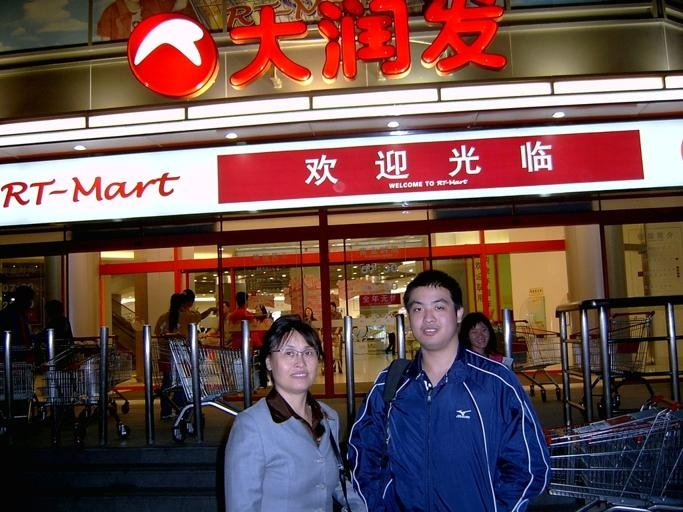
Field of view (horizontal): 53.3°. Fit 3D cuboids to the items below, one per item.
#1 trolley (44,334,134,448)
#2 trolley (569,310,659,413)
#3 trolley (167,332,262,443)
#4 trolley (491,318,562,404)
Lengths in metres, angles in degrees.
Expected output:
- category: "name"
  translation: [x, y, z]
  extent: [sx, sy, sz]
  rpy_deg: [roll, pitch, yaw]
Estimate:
- category: "trolley"
  translation: [-3.297, 1.663, 8.834]
  extent: [0.693, 1.113, 1.211]
  rpy_deg: [-8, -1, 1]
- category: "trolley"
  translation: [3.601, 1.394, 9.184]
  extent: [1.191, 1.280, 0.875]
  rpy_deg: [-6, 1, -1]
- category: "trolley"
  translation: [-1.631, 1.604, 8.463]
  extent: [1.226, 1.157, 0.755]
  rpy_deg: [2, -4, -28]
- category: "trolley"
  translation: [3.176, 1.748, 11.227]
  extent: [0.859, 0.855, 0.496]
  rpy_deg: [18, -18, -23]
